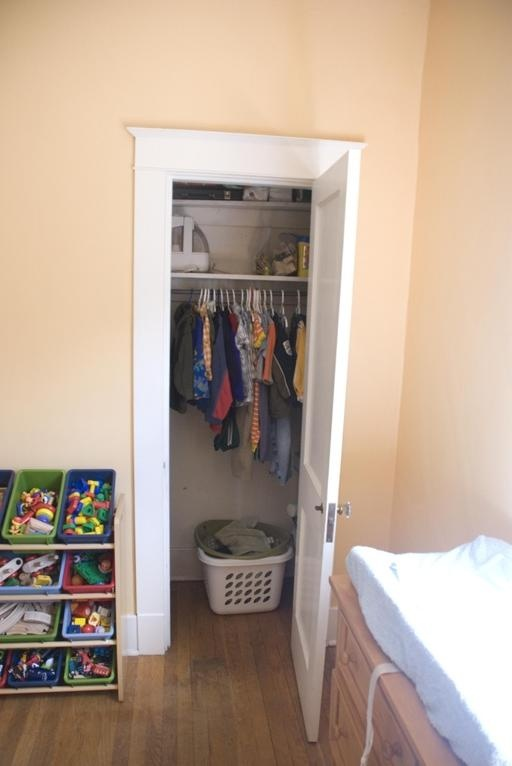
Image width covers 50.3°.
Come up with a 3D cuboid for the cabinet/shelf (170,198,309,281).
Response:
[{"bbox_3d":[-0.067,-0.719,2.755,0.702,0.369,0.235,1,5,-8],"label":"cabinet/shelf"}]

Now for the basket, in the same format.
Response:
[{"bbox_3d":[-0.077,0.910,2.706,0.354,0.363,0.374,1,-2,-15],"label":"basket"}]

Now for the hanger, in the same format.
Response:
[{"bbox_3d":[-0.063,-0.380,2.699,0.676,0.185,0.399,1,6,-12],"label":"hanger"}]
